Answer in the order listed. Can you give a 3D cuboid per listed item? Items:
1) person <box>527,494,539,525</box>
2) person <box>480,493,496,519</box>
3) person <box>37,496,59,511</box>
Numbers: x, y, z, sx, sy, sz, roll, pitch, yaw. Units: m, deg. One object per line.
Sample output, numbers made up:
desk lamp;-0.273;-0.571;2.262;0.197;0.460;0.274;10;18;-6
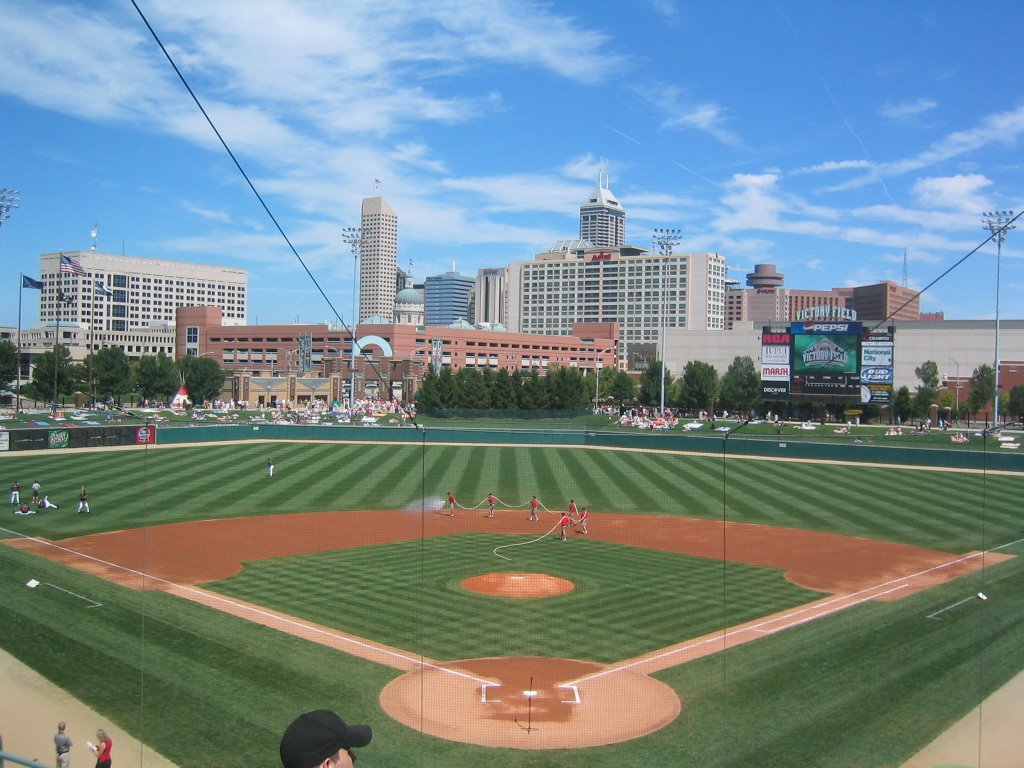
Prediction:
person;1.150;7.164;62.934;1.131;1.269;0.437;15;28;38
person;-1.443;7.034;63.876;0.510;1.302;1.257;-11;13;-42
person;-25.193;6.437;60.497;1.008;0.605;1.273;-3;8;-23
